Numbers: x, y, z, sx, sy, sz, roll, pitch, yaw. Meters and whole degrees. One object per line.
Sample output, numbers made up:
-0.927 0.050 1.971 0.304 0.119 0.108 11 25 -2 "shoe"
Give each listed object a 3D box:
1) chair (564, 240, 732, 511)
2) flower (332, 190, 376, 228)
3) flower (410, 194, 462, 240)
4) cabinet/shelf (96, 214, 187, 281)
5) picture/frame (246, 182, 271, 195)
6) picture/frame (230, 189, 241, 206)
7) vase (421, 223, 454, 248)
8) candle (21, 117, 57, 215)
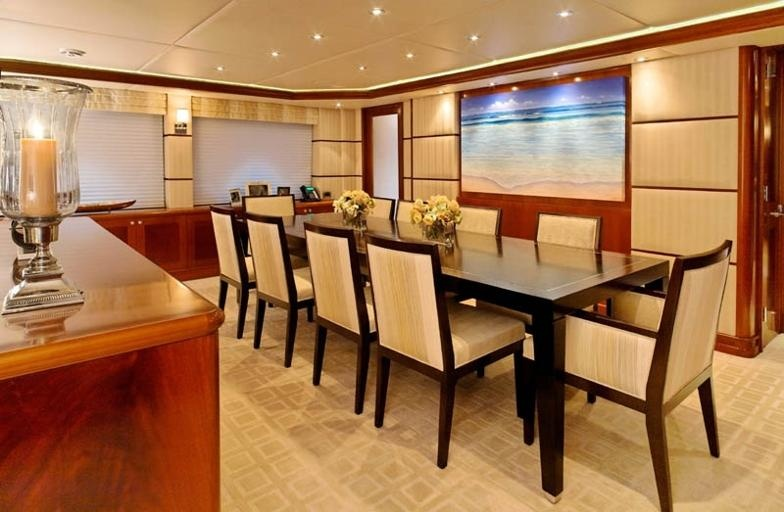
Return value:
1.453 0.601 2.731 0.929 1.380 0.522 1 11 -16 "chair"
-0.318 -0.448 4.866 0.387 0.352 0.374 -5 8 -37 "flower"
0.393 -0.313 4.026 0.373 0.308 0.361 -7 9 -37 "flower"
-2.227 -0.140 4.536 0.844 0.746 0.320 -5 6 -38 "cabinet/shelf"
-1.984 -0.993 7.494 0.325 0.226 0.031 -2 1 -39 "picture/frame"
-2.250 -0.833 7.291 0.026 0.186 0.243 -16 3 27 "picture/frame"
0.363 -0.160 3.968 0.168 0.187 0.282 -3 1 -38 "vase"
-1.234 -0.302 1.774 0.107 0.330 0.054 -2 12 -31 "candle"
